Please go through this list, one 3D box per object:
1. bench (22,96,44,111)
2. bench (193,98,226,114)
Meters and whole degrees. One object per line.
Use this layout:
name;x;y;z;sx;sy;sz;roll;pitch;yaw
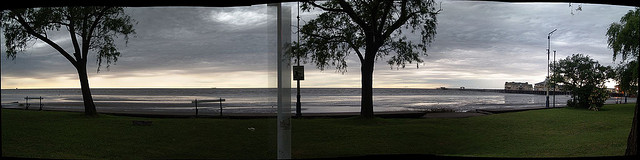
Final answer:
bench;-37.994;3.172;45.078;3.547;1.258;1.387;1;10;-20
bench;-13.755;3.231;42.140;4.348;1.191;1.125;-1;11;-13
